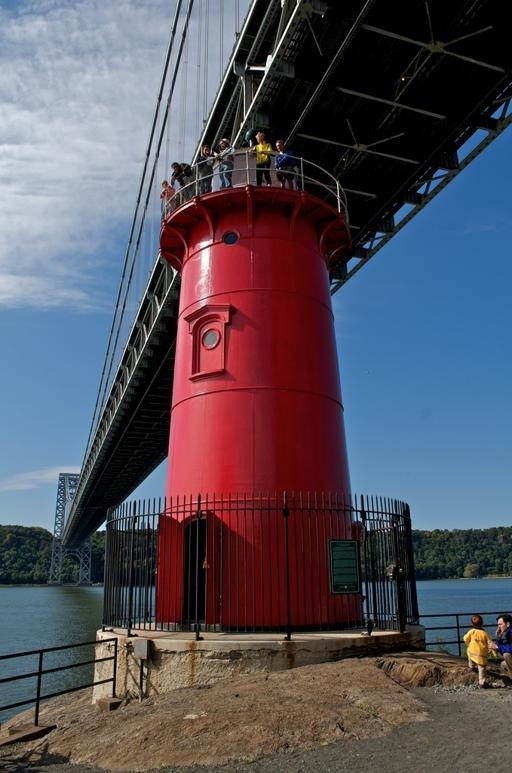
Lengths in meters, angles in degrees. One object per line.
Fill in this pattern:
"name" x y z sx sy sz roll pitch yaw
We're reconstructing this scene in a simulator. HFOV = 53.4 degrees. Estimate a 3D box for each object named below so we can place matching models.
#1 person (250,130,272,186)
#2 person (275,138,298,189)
"person" 0.102 -4.851 10.972 0.403 1.161 0.305 -3 -7 9
"person" 0.616 -4.771 10.952 0.449 1.360 0.627 -3 -13 5
